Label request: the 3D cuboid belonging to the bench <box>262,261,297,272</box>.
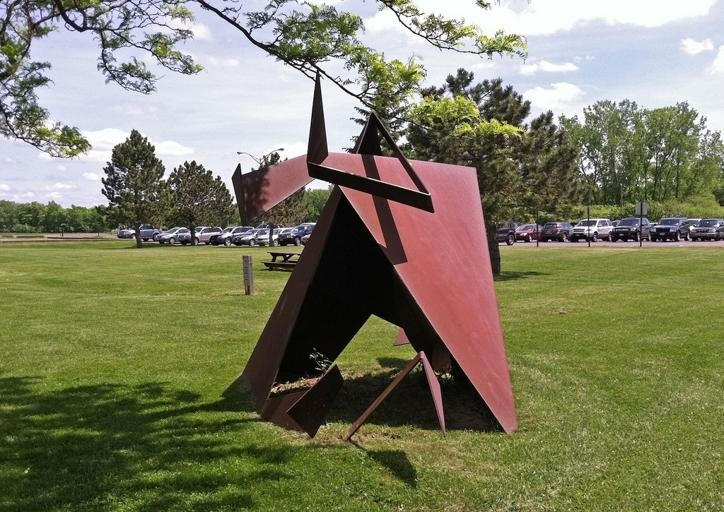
[{"bbox_3d":[-3.729,0.490,26.597,1.047,0.404,1.656,1,4,21],"label":"bench"}]
